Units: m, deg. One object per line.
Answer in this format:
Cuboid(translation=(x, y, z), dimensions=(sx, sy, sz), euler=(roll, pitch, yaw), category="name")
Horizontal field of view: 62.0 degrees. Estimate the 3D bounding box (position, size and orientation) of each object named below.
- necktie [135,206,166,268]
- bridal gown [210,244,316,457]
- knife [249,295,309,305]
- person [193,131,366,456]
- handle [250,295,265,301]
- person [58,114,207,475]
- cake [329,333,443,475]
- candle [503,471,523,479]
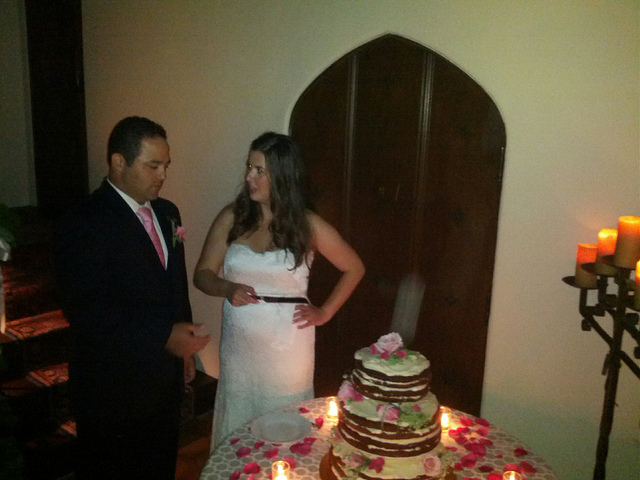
Cuboid(translation=(-1.014, -0.004, 3.182), dimensions=(0.161, 0.352, 0.166), euler=(1, 15, -21), category="necktie")
Cuboid(translation=(-0.374, 0.729, 3.499), dimensions=(0.677, 1.538, 0.444), euler=(6, 17, 10), category="bridal gown")
Cuboid(translation=(-0.272, 0.381, 3.304), dimensions=(0.354, 0.051, 0.036), euler=(5, -5, -3), category="knife")
Cuboid(translation=(-0.323, 0.544, 3.535), dimensions=(1.062, 2.361, 0.838), euler=(5, 27, 5), category="person")
Cuboid(translation=(-0.386, 0.364, 3.287), dimensions=(0.086, 0.037, 0.034), euler=(1, 8, -19), category="handle")
Cuboid(translation=(-1.085, 0.353, 3.065), dimensions=(0.737, 2.097, 0.389), euler=(-1, 9, -27), category="person")
Cuboid(translation=(0.254, 0.783, 2.597), dimensions=(0.536, 0.557, 0.574), euler=(4, -12, -2), category="cake")
Cuboid(translation=(0.872, 1.079, 2.412), dimensions=(0.051, 0.039, 0.051), euler=(2, -1, -16), category="candle")
